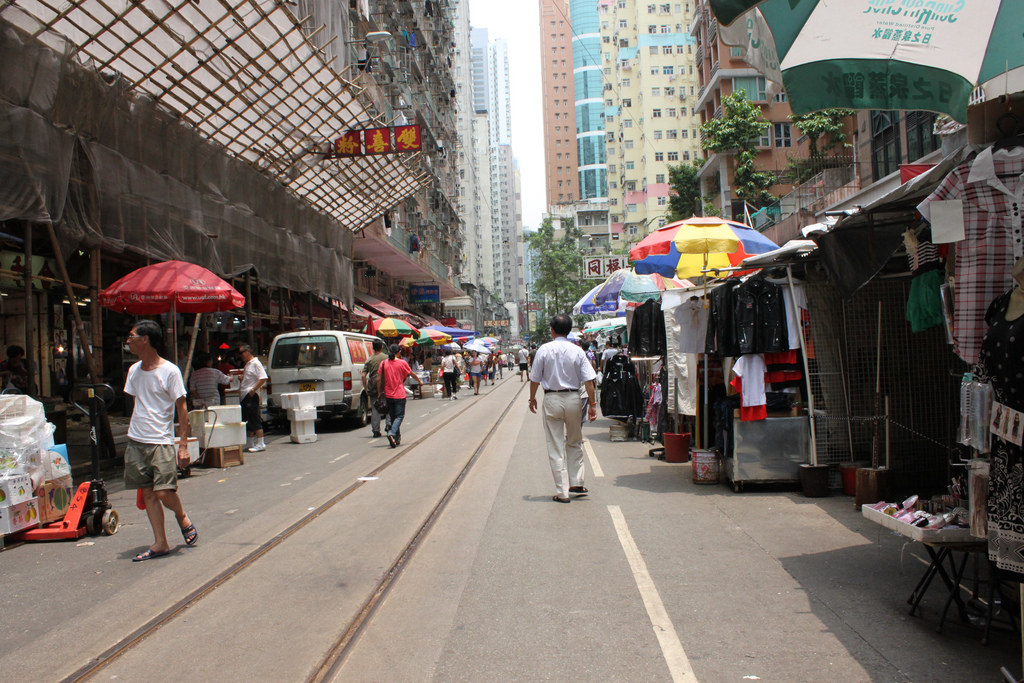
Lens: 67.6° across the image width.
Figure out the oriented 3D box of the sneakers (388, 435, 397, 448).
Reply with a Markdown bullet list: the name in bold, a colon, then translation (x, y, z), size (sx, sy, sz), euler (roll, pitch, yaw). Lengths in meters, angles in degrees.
- **sneakers**: translation (-2.495, 2.048, 15.803), size (0.113, 0.348, 0.138), euler (0, 23, 13)

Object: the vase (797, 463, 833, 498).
- **vase**: translation (4.101, 1.879, 10.351), size (0.383, 0.379, 0.397), euler (-2, -4, 17)

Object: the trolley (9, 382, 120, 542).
- **trolley**: translation (-5.630, 1.562, 9.640), size (0.897, 1.814, 1.054), euler (-1, 4, 37)

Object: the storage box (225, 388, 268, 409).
- **storage box**: translation (-6.373, 1.281, 17.679), size (0.662, 0.459, 0.715), euler (-1, -6, 6)

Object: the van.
- **van**: translation (-4.910, 0.779, 20.103), size (1.614, 1.598, 3.053), euler (-1, 0, 8)

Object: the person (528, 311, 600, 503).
- **person**: translation (0.694, 0.923, 10.685), size (0.861, 2.550, 1.077), euler (0, 4, 19)

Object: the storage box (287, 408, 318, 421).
- **storage box**: translation (-4.884, 1.696, 17.820), size (0.260, 0.339, 0.672), euler (2, 6, 45)

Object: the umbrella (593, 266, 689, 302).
- **umbrella**: translation (2.832, -1.210, 16.617), size (1.792, 0.687, 1.856), euler (-2, -4, -4)

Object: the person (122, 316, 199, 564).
- **person**: translation (-4.127, 1.120, 8.887), size (0.751, 2.687, 0.623), euler (-4, 5, -29)

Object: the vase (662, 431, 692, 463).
- **vase**: translation (2.854, 1.829, 13.260), size (0.402, 0.403, 0.489), euler (-4, -6, 28)

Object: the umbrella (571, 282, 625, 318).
- **umbrella**: translation (2.237, -0.923, 19.962), size (1.803, 0.991, 1.923), euler (-1, -2, -1)

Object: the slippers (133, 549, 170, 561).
- **slippers**: translation (-4.136, 2.404, 8.692), size (0.346, 0.091, 0.139), euler (5, -10, -30)

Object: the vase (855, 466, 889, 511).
- **vase**: translation (4.470, 1.846, 9.500), size (0.351, 0.543, 0.441), euler (0, 4, 26)

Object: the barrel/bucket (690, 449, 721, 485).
- **barrel/bucket**: translation (2.876, 1.861, 11.331), size (0.416, 0.497, 0.444), euler (-1, -4, 0)

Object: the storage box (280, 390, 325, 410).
- **storage box**: translation (-5.047, 1.436, 18.343), size (0.669, 0.471, 1.482), euler (-1, 4, 9)

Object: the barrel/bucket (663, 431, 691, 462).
- **barrel/bucket**: translation (2.864, 1.846, 13.341), size (0.449, 0.393, 0.425), euler (0, -9, 0)

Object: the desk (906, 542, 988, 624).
- **desk**: translation (3.989, 2.013, 6.996), size (0.489, 0.718, 1.024), euler (8, 7, 31)

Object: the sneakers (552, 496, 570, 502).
- **sneakers**: translation (0.657, 2.127, 10.354), size (0.207, 0.101, 0.159), euler (-1, 4, 6)

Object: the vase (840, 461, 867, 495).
- **vase**: translation (4.610, 1.875, 10.457), size (0.390, 0.456, 0.414), euler (-1, -2, 18)
